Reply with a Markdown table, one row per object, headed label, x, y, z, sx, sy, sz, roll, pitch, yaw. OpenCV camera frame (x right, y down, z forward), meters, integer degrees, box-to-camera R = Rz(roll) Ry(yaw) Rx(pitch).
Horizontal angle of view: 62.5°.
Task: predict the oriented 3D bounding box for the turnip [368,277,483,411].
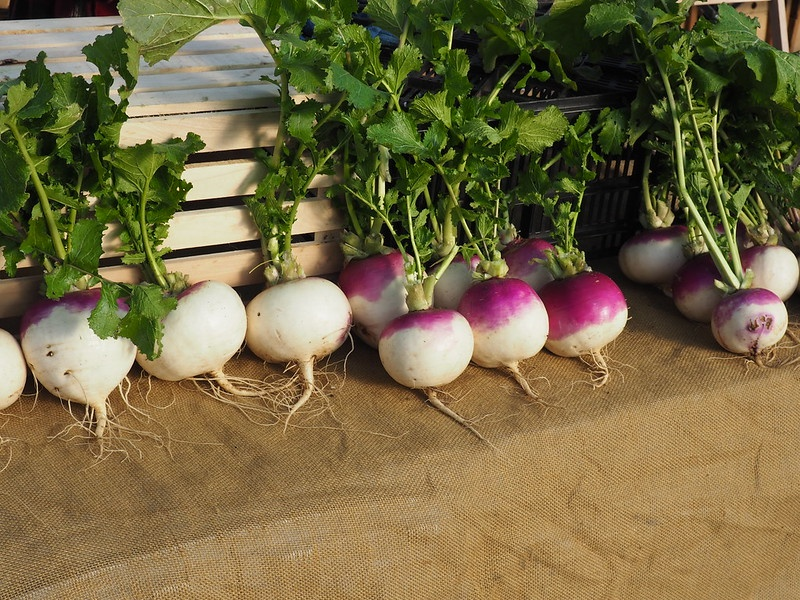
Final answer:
| label | x | y | z | sx | sy | sz | roll | pitch | yaw |
| --- | --- | --- | --- | --- | --- | --- | --- | --- | --- |
| turnip | 0.041 | 0.068 | 1.254 | 0.199 | 0.188 | 0.188 | -11 | 5 | -42 |

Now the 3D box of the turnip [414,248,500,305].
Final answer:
| label | x | y | z | sx | sy | sz | roll | pitch | yaw |
| --- | --- | --- | --- | --- | --- | --- | --- | --- | --- |
| turnip | 0.123 | -0.035 | 1.390 | 0.141 | 0.100 | 0.127 | 7 | 2 | 11 |

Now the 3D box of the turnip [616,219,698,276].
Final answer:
| label | x | y | z | sx | sy | sz | roll | pitch | yaw |
| --- | --- | --- | --- | --- | --- | --- | --- | --- | --- |
| turnip | 0.598 | -0.108 | 1.543 | 0.131 | 0.079 | 0.155 | -15 | 3 | 23 |

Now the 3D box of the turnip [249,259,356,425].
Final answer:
| label | x | y | z | sx | sy | sz | roll | pitch | yaw |
| --- | --- | --- | --- | --- | --- | --- | --- | --- | --- |
| turnip | -0.198 | 0.079 | 1.286 | 0.229 | 0.242 | 0.183 | -5 | -17 | -17 |

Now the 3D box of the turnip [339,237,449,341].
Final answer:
| label | x | y | z | sx | sy | sz | roll | pitch | yaw |
| --- | --- | --- | --- | --- | --- | --- | --- | --- | --- |
| turnip | -0.035 | -0.024 | 1.350 | 0.162 | 0.152 | 0.149 | -15 | 17 | -24 |

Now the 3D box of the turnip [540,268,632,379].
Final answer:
| label | x | y | z | sx | sy | sz | roll | pitch | yaw |
| --- | --- | --- | --- | --- | --- | --- | --- | --- | --- |
| turnip | 0.369 | 0.057 | 1.348 | 0.194 | 0.214 | 0.161 | -15 | 7 | 13 |

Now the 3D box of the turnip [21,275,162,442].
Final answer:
| label | x | y | z | sx | sy | sz | roll | pitch | yaw |
| --- | --- | --- | --- | --- | --- | --- | --- | --- | --- |
| turnip | -0.546 | 0.122 | 1.162 | 0.199 | 0.231 | 0.182 | -12 | -23 | -14 |

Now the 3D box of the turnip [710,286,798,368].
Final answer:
| label | x | y | z | sx | sy | sz | roll | pitch | yaw |
| --- | --- | --- | --- | --- | --- | --- | --- | --- | --- |
| turnip | 0.685 | 0.051 | 1.383 | 0.180 | 0.150 | 0.169 | 2 | -1 | -2 |
